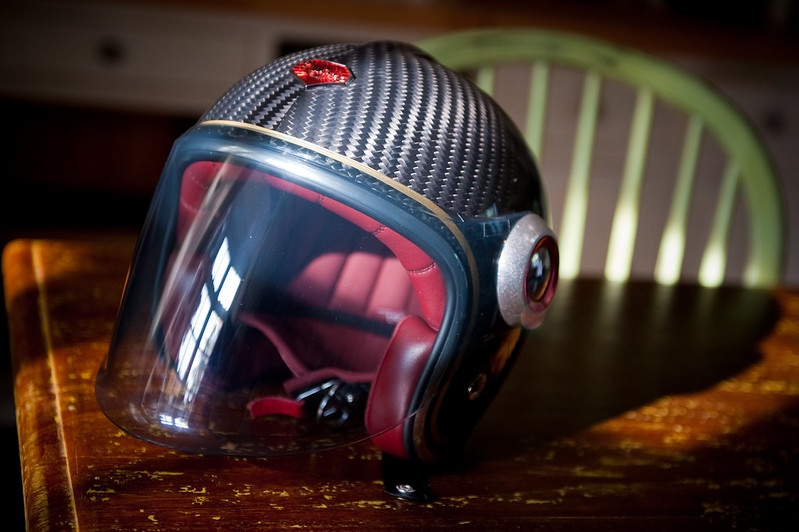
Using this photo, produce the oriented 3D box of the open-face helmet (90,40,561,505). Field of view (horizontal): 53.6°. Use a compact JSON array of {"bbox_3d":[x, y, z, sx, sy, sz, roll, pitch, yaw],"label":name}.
[{"bbox_3d":[-0.069,-0.039,1.286,0.684,0.611,0.634,2,16,-21],"label":"open-face helmet"}]
